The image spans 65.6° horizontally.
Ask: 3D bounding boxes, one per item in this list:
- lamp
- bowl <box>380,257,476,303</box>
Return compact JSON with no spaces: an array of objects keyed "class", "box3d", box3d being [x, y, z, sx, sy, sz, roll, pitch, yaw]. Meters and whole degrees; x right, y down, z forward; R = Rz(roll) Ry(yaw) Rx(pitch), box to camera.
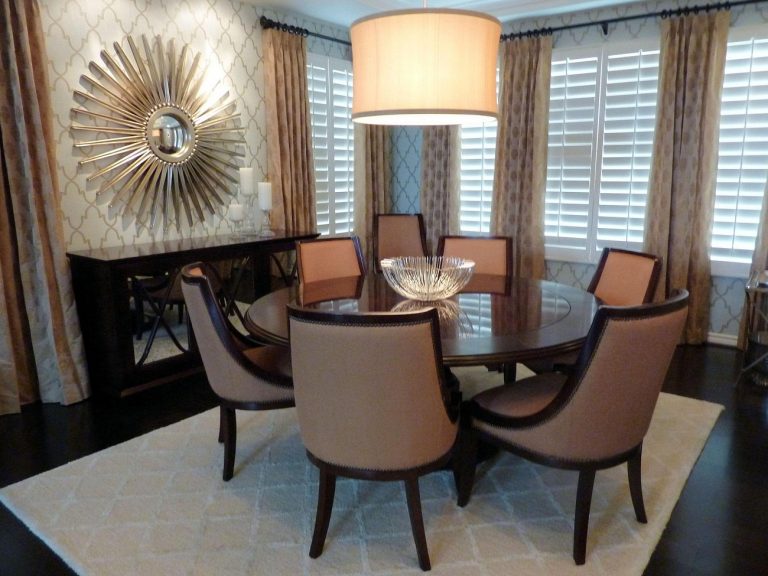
[{"class":"lamp","box3d":[0.191,-0.992,2.685,0.492,0.371,0.550,4,15,16]},{"class":"bowl","box3d":[0.231,-0.026,3.214,0.477,0.251,0.509,2,-5,0]}]
